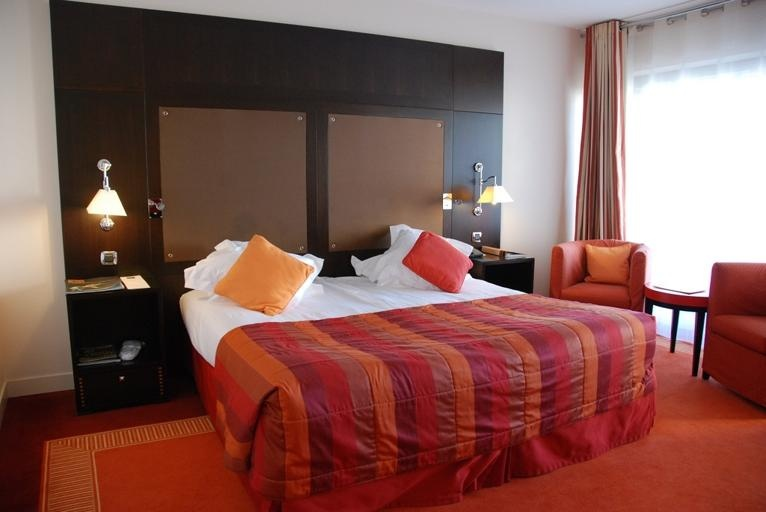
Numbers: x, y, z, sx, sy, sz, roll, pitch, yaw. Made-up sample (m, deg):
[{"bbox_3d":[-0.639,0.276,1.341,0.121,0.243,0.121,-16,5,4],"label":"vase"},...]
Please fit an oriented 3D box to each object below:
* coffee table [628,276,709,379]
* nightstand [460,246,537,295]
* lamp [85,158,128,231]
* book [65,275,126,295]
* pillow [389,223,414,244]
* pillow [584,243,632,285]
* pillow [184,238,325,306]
[{"bbox_3d":[2.767,0.689,5.305,0.763,0.853,0.773,-1,7,-4],"label":"coffee table"},{"bbox_3d":[1.235,0.195,5.832,0.709,0.689,0.477,-6,14,-28],"label":"nightstand"},{"bbox_3d":[-2.395,-0.517,4.582,0.316,0.623,0.292,-5,13,-27],"label":"lamp"},{"bbox_3d":[-2.432,0.237,4.486,0.416,0.046,0.537,-6,13,-31],"label":"book"},{"bbox_3d":[0.145,-0.253,5.472,0.062,0.213,0.190,18,-1,39],"label":"pillow"},{"bbox_3d":[2.439,0.102,5.749,0.416,0.403,0.148,-2,-11,34],"label":"pillow"},{"bbox_3d":[-1.247,0.142,4.603,0.815,0.250,0.708,12,31,17],"label":"pillow"}]
